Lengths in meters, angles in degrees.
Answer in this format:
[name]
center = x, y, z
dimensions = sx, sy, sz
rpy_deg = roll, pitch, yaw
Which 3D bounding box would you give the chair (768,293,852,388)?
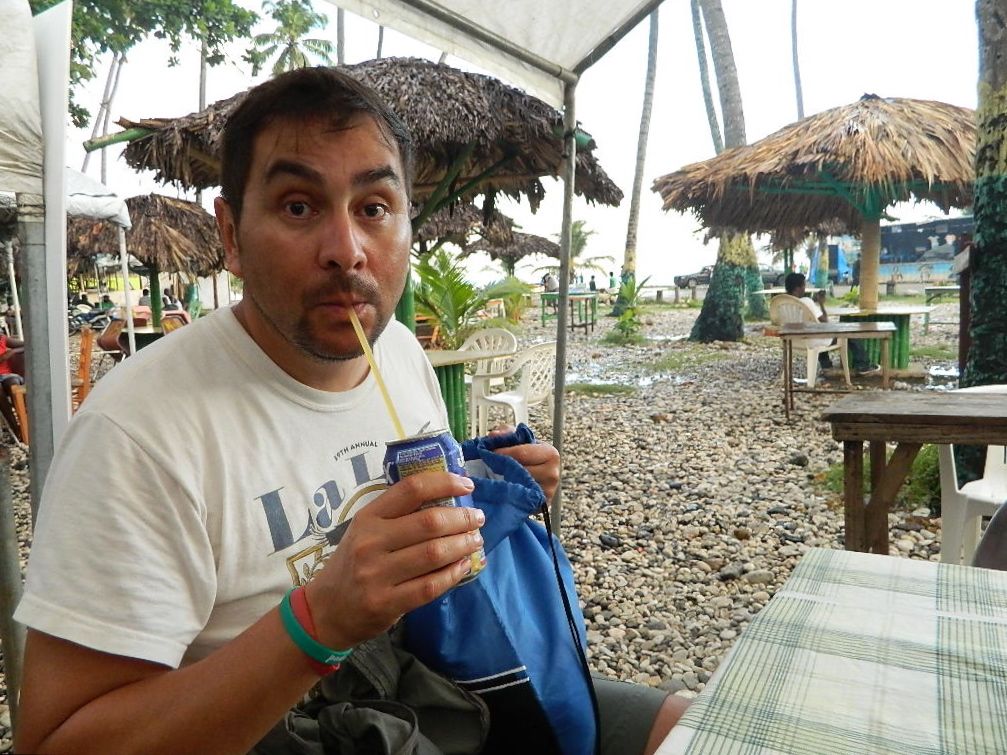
[chair]
center = 3.619, -0.562, 9.151
dimensions = 0.881, 1.418, 0.698
rpy_deg = 0, 0, -8

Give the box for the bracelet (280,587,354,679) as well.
[bracelet]
center = -0.390, 0.512, 1.672
dimensions = 0.145, 0.169, 0.087
rpy_deg = -36, 1, 43

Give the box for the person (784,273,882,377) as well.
[person]
center = 4.218, -0.703, 10.237
dimensions = 0.866, 1.540, 0.544
rpy_deg = -25, 12, 7
